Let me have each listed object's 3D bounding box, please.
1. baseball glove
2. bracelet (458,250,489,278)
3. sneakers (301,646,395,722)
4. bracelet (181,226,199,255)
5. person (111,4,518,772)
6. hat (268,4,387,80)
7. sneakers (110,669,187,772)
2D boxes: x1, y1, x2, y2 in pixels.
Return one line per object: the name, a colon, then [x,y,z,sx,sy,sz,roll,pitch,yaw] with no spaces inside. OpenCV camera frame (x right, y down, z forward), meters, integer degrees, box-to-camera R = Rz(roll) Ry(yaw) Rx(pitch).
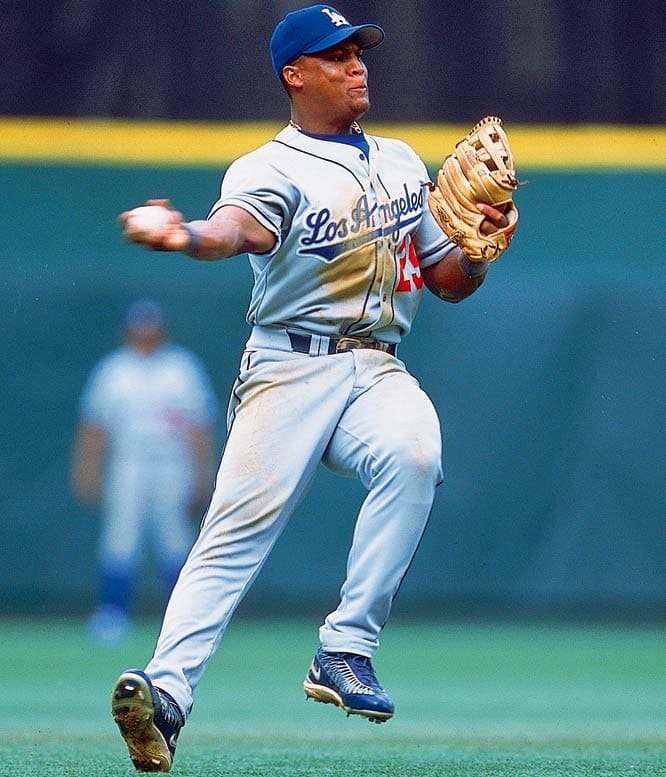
baseball glove: [0.314,-0.428,2.822,0.233,0.301,0.233,2,-1,45]
bracelet: [0.329,-0.285,2.870,0.071,0.057,0.096,0,9,-37]
sneakers: [0.020,0.648,2.745,0.259,0.135,0.094,11,-11,46]
bracelet: [-0.261,-0.279,2.310,0.029,0.048,0.099,1,0,-6]
person: [-0.094,-0.055,2.709,0.727,1.265,0.463,1,0,-17]
hat: [-0.035,-0.804,2.906,0.240,0.109,0.162,-18,3,25]
sneakers: [-0.363,0.671,2.466,0.109,0.176,0.193,1,0,7]
